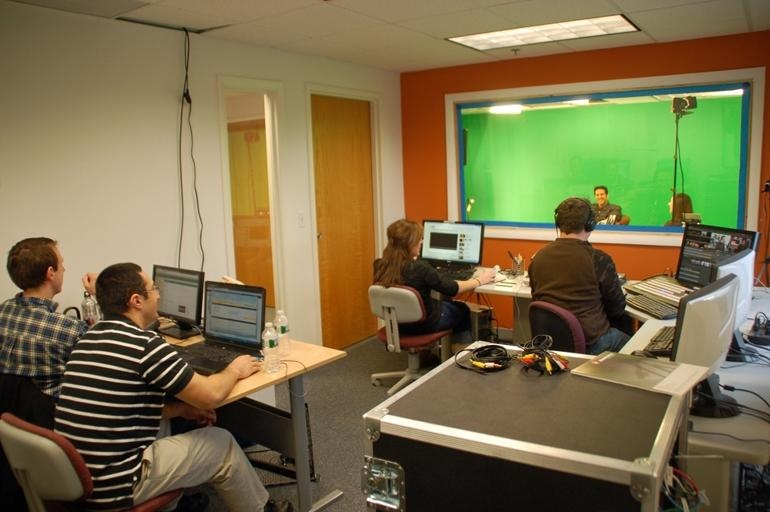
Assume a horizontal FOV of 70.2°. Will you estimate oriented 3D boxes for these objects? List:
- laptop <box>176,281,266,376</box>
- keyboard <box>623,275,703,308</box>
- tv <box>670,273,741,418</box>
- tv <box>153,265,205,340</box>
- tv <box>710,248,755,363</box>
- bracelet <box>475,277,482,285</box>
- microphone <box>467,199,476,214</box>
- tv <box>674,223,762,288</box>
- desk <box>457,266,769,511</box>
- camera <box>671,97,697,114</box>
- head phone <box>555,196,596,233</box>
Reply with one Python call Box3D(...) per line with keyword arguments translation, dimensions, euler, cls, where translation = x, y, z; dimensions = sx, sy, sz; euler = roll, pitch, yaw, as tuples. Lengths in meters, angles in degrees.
Box3D(translation=(-0.965, 0.430, 3.653), dimensions=(0.664, 0.504, 0.468), euler=(7, 5, 24), cls="laptop")
Box3D(translation=(2.129, 0.245, 4.193), dimensions=(0.297, 0.068, 0.418), euler=(-10, 13, -13), cls="keyboard")
Box3D(translation=(1.601, 0.468, 2.708), dimensions=(0.271, 0.617, 0.660), euler=(4, 9, 43), cls="tv")
Box3D(translation=(-1.446, 0.334, 3.855), dimensions=(0.501, 0.428, 0.184), euler=(3, 2, 36), cls="tv")
Box3D(translation=(1.944, 0.289, 3.052), dimensions=(0.218, 0.604, 0.617), euler=(4, 10, 39), cls="tv")
Box3D(translation=(0.820, 0.217, 4.817), dimensions=(0.022, 0.064, 0.039), euler=(8, -3, -23), cls="bracelet")
Box3D(translation=(1.004, -0.602, 6.446), dimensions=(0.053, 0.142, 0.110), euler=(-2, 11, -36), cls="microphone")
Box3D(translation=(2.361, -0.003, 3.879), dimensions=(0.186, 0.481, 0.511), euler=(2, 8, -7), cls="tv")
Box3D(translation=(1.233, 0.234, 2.989), dimensions=(1.088, 1.327, 1.475), euler=(4, 6, 41), cls="desk")
Box3D(translation=(2.931, -1.484, 5.341), dimensions=(0.214, 0.161, 0.061), euler=(0, 7, 21), cls="camera")
Box3D(translation=(1.351, -0.296, 3.955), dimensions=(0.320, 0.278, 0.328), euler=(6, 13, 45), cls="head phone")
